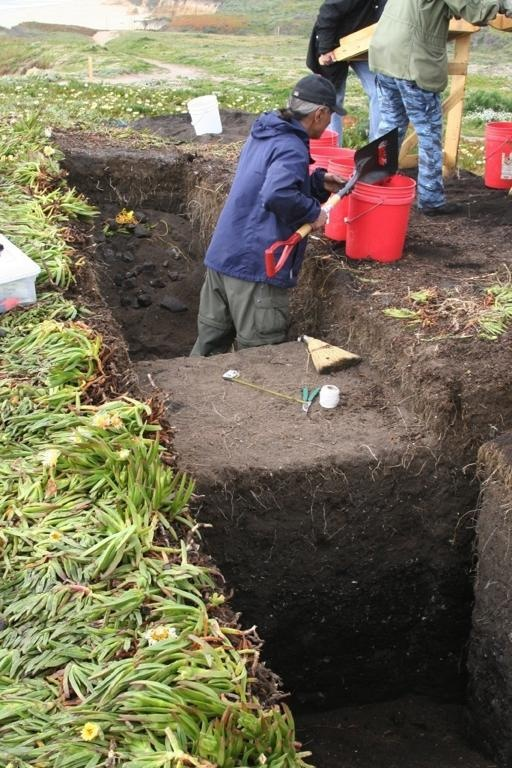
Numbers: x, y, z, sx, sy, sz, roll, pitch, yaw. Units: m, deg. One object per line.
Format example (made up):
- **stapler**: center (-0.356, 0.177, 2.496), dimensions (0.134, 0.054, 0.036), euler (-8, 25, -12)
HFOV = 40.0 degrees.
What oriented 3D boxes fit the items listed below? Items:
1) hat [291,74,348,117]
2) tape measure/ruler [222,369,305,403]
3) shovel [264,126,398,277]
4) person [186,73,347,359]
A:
- **hat**: center (0.292, -1.522, 3.698), dimensions (0.297, 0.155, 0.191), euler (-14, 44, -24)
- **tape measure/ruler**: center (0.036, 0.019, 3.734), dimensions (0.472, 0.093, 0.089), euler (13, 24, 34)
- **shovel**: center (0.433, -1.101, 3.905), dimensions (0.798, 0.860, 0.813), euler (-1, 23, -17)
- **person**: center (0.033, -0.879, 4.063), dimensions (0.529, 1.651, 0.886), euler (-18, 27, -37)
